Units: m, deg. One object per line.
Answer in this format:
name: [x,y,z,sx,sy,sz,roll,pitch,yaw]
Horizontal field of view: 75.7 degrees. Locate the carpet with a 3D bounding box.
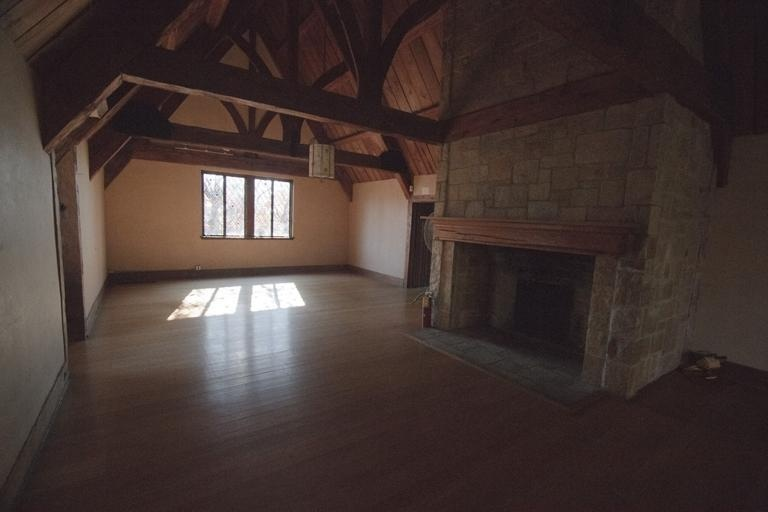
carpet: [1.649,1.441,6.536,2.401,0.238,0.931,10,12,41]

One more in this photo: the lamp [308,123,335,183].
lamp: [-0.937,-1.751,7.959,0.421,0.856,0.377,18,34,18]
